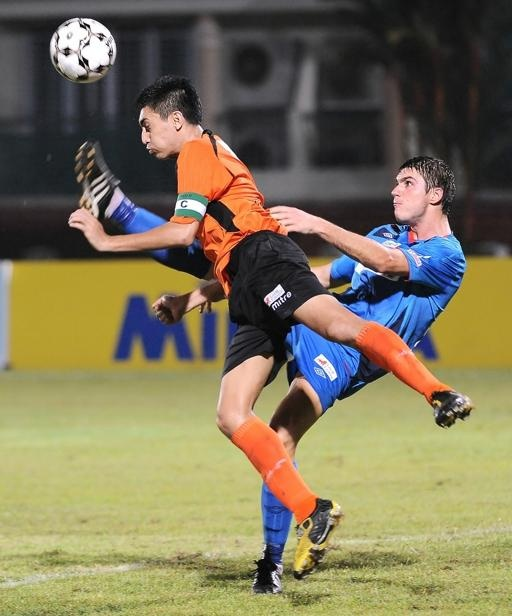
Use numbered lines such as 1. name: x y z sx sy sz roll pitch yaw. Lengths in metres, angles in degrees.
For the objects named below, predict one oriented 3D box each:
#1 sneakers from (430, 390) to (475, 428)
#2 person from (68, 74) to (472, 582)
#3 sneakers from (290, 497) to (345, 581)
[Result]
1. sneakers: 0.668 0.352 3.374 0.148 0.108 0.061 42 -15 43
2. person: 0.033 0.124 3.624 1.344 1.582 0.538 2 3 40
3. sneakers: 0.205 0.770 3.461 0.171 0.293 0.116 24 -1 7
